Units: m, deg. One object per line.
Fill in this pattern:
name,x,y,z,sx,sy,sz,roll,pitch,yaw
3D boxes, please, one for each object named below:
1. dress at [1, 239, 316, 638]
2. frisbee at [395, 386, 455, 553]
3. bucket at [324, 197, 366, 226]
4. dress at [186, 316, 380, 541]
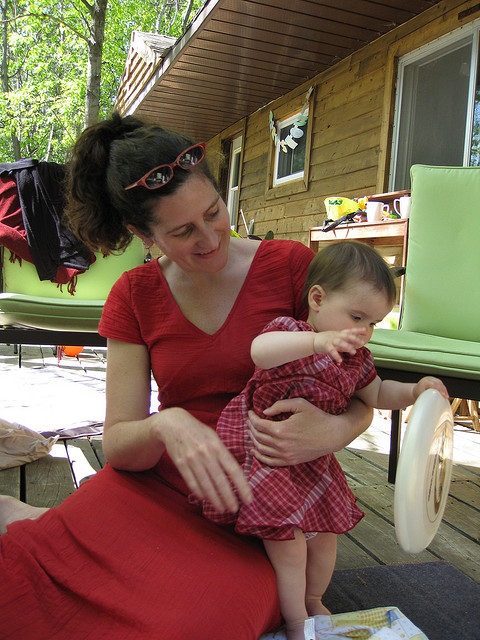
dress,-0.166,0.204,1.083,0.576,0.809,0.561,2,3,10
frisbee,0.387,0.312,1.037,0.094,0.310,0.346,5,10,21
bucket,0.817,-0.899,3.958,0.318,0.125,0.263,-5,-8,30
dress,0.143,0.160,1.217,0.628,0.467,0.435,5,11,16
